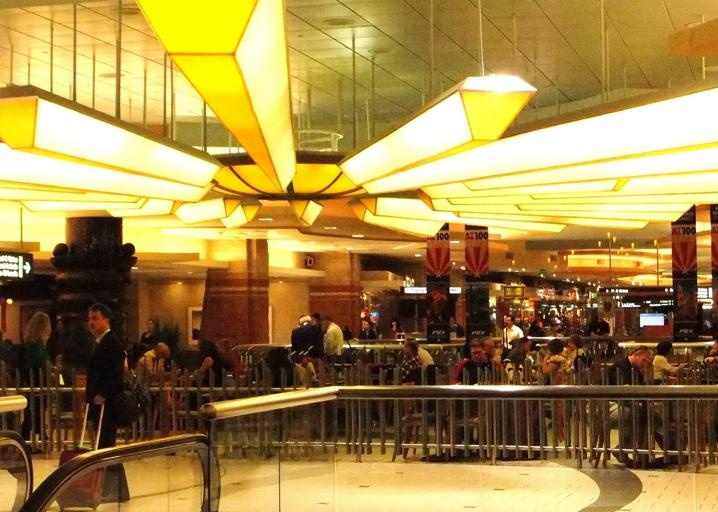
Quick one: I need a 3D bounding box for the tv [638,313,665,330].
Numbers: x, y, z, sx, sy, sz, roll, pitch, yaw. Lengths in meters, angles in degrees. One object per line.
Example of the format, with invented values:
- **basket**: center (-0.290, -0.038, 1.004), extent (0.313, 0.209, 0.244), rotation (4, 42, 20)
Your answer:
- **tv**: center (7.388, 1.618, 21.660), extent (0.476, 0.278, 0.048), rotation (2, -26, 10)
